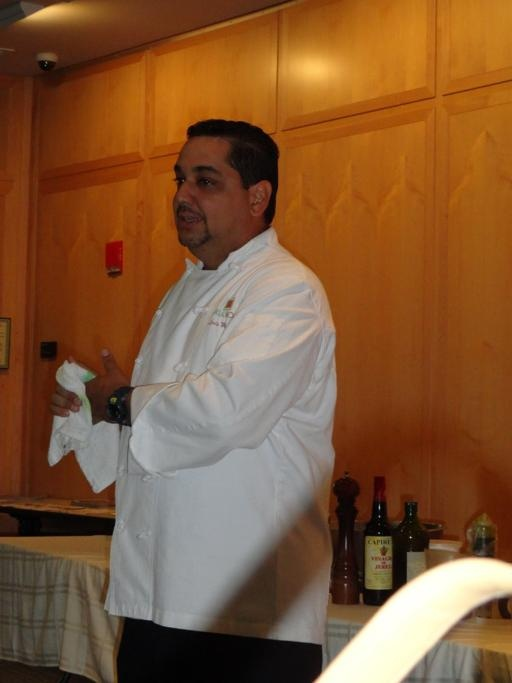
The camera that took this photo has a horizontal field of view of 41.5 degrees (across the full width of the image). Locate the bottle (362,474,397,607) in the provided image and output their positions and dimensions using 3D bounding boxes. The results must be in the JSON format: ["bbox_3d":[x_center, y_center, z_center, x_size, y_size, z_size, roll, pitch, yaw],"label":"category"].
[{"bbox_3d":[0.316,0.514,1.750,0.076,0.318,0.185,2,-6,10],"label":"bottle"}]

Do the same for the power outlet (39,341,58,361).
[{"bbox_3d":[-1.403,0.062,4.591,0.125,0.119,0.065,5,5,39],"label":"power outlet"}]

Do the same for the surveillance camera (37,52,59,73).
[{"bbox_3d":[-1.355,-1.833,4.411,0.103,0.081,0.105,-3,-23,-3],"label":"surveillance camera"}]

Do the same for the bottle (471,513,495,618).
[{"bbox_3d":[0.564,0.552,1.689,0.058,0.225,0.203,1,-6,19],"label":"bottle"}]

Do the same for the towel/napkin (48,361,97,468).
[{"bbox_3d":[-0.406,0.147,1.423,0.056,0.201,0.135,24,21,40],"label":"towel/napkin"}]

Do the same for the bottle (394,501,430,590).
[{"bbox_3d":[0.394,0.535,1.698,0.079,0.269,0.081,-3,4,0],"label":"bottle"}]
